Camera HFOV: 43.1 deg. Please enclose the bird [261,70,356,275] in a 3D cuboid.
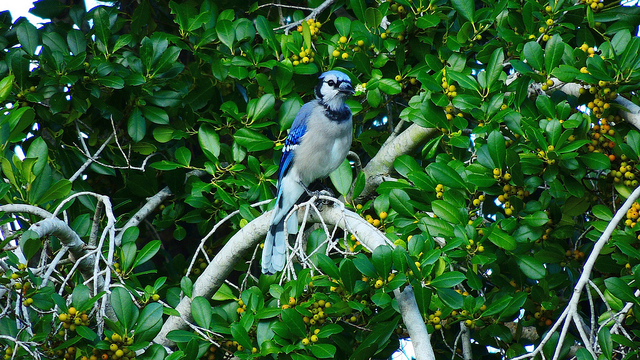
[{"bbox_3d":[-0.098,-0.068,6.466,0.510,1.760,0.763,23,0,-9],"label":"bird"}]
